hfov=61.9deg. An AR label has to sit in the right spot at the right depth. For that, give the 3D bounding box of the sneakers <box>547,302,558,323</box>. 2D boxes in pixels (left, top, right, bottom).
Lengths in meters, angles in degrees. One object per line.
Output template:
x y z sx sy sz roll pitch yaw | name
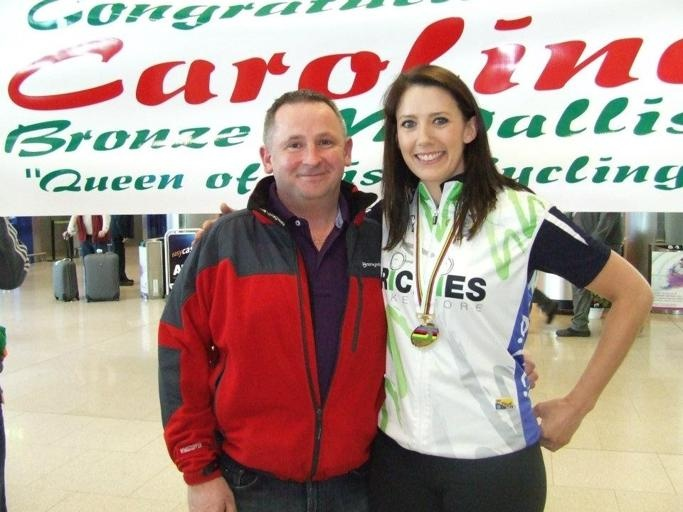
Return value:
2.288 0.616 6.161 0.067 0.286 0.157 2 43 23 | sneakers

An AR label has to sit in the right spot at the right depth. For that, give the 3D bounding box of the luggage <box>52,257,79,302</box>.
-3.721 0.339 7.711 0.306 0.617 0.649 -6 8 -27 | luggage

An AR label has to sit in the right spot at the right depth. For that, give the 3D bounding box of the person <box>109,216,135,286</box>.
-3.585 -0.077 9.347 0.269 0.363 1.338 -3 -19 -20 | person

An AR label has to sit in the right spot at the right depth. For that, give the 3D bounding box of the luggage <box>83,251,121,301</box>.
-3.312 0.253 7.934 0.444 0.765 0.379 -2 17 -24 | luggage
